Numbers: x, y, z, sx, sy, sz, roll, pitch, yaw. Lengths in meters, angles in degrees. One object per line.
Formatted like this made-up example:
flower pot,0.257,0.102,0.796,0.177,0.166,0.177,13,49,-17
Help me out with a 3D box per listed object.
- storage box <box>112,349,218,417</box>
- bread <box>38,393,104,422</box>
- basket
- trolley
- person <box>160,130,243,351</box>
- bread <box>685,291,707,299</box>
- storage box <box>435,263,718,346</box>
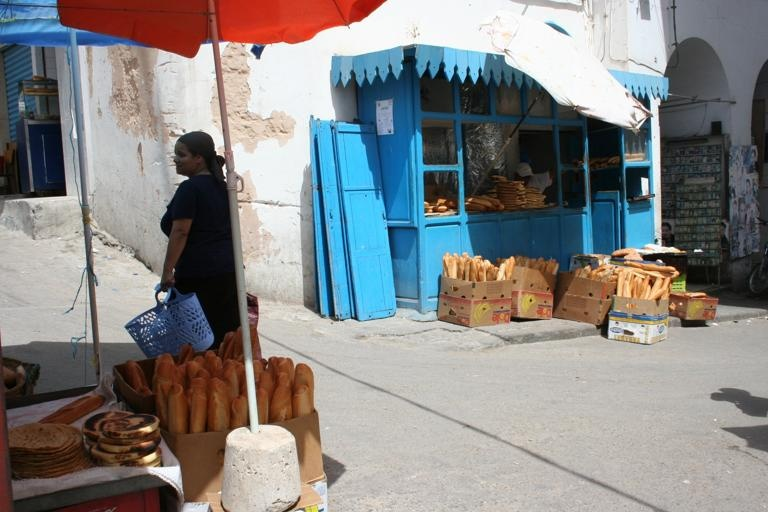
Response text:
storage box,-1.841,0.998,5.797,0.564,0.174,0.556,-2,4,-31
bread,-2.398,1.193,5.507,0.142,0.091,0.450,14,23,38
basket,-1.923,0.630,6.545,0.668,0.617,0.561,-32,-3,16
trolley,-6.652,-2.377,14.193,0.973,2.113,1.180,3,10,43
person,-1.769,-0.214,7.300,0.890,2.283,0.737,0,1,25
bread,5.059,0.633,11.647,0.267,0.070,0.279,1,2,10
storage box,2.656,0.633,10.692,3.426,1.064,1.181,2,8,-7
